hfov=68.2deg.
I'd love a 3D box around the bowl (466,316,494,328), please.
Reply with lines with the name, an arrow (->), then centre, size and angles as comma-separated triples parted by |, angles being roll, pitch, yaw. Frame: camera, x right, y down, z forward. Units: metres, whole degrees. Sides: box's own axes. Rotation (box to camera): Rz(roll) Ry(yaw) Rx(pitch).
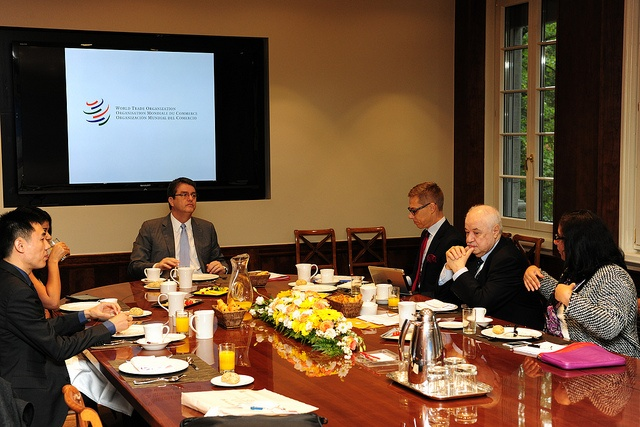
bowl -> 0.890, 0.612, 2.662 | 0.082, 0.023, 0.084 | -4, 1, 0

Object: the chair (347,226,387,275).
chair -> 0.546, 0.437, 5.707 | 0.499, 0.891, 0.564 | 0, -3, -4

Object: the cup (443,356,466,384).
cup -> 0.556, 0.659, 2.004 | 0.083, 0.093, 0.083 | -1, 2, 0

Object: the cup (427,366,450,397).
cup -> 0.476, 0.676, 1.902 | 0.090, 0.111, 0.093 | -1, -4, 0

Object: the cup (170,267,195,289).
cup -> -1.068, 0.482, 3.551 | 0.202, 0.188, 0.136 | -1, -1, 2

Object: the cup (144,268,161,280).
cup -> -1.338, 0.480, 3.762 | 0.082, 0.081, 0.108 | -2, -8, 17

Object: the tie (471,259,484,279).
tie -> 1.148, 0.402, 3.446 | 0.039, 0.124, 0.089 | 15, 1, 2

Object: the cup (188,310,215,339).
cup -> -0.640, 0.603, 2.619 | 0.168, 0.160, 0.105 | -4, 7, -40

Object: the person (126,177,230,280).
person -> -1.437, 0.137, 4.592 | 0.776, 1.393, 0.682 | 5, -26, -27

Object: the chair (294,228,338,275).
chair -> -0.059, 0.451, 5.488 | 0.458, 0.817, 0.518 | 0, -4, -1

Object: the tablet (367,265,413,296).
tablet -> 0.570, 0.479, 3.534 | 0.298, 0.216, 0.336 | -14, 8, -39

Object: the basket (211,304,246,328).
basket -> -0.536, 0.611, 2.768 | 0.113, 0.073, 0.151 | 3, -1, -21

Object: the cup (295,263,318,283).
cup -> -0.092, 0.453, 3.693 | 0.184, 0.181, 0.116 | 2, -4, -24

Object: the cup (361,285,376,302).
cup -> 0.311, 0.530, 3.119 | 0.081, 0.081, 0.107 | 0, -3, -2

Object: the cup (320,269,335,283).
cup -> 0.051, 0.481, 3.637 | 0.092, 0.082, 0.099 | -1, -7, 0

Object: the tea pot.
tea pot -> 0.401, 0.550, 1.951 | 0.184, 0.302, 0.120 | 4, 10, 45

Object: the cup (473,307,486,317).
cup -> 0.897, 0.561, 2.670 | 0.050, 0.053, 0.067 | -1, -4, 1

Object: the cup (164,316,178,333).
cup -> -0.870, 0.650, 2.764 | 0.083, 0.102, 0.088 | 0, -7, 0

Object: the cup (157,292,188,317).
cup -> -0.940, 0.545, 2.918 | 0.201, 0.156, 0.140 | -1, 1, -1

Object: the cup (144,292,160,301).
cup -> -1.216, 0.601, 3.415 | 0.076, 0.074, 0.099 | 3, -4, -41

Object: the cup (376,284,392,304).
cup -> 0.426, 0.547, 3.171 | 0.097, 0.099, 0.130 | 1, -4, -1

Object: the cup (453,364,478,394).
cup -> 0.588, 0.676, 1.925 | 0.095, 0.114, 0.099 | 0, -3, 0

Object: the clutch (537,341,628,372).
clutch -> 1.206, 0.663, 2.171 | 0.153, 0.033, 0.169 | -4, 7, -6

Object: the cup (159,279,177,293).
cup -> -1.045, 0.503, 3.287 | 0.089, 0.116, 0.111 | 0, -1, -41

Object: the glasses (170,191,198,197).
glasses -> -1.248, -0.165, 4.291 | 0.226, 0.059, 0.102 | -6, 7, -18
